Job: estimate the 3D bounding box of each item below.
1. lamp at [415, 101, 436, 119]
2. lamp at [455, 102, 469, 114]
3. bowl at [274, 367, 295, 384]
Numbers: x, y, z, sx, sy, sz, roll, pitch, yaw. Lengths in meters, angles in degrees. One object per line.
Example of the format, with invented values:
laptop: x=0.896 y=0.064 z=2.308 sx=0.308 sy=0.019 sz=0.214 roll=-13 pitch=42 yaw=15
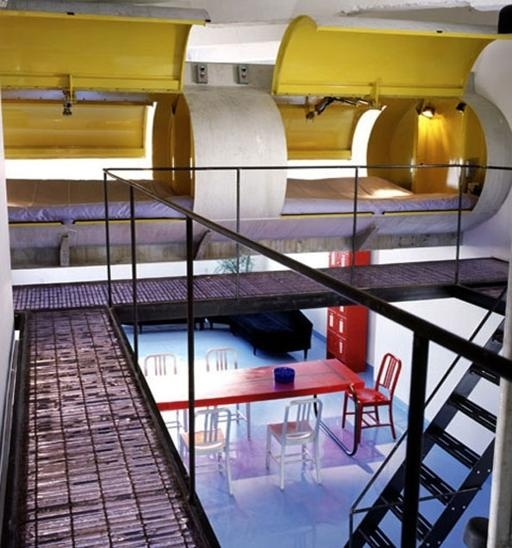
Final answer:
lamp: x=2.073 y=-2.014 z=6.079 sx=0.171 sy=0.220 sz=0.166 roll=2 pitch=50 yaw=28
lamp: x=2.240 y=-1.832 z=5.457 sx=0.099 sy=0.160 sz=0.095 roll=6 pitch=24 yaw=18
bowl: x=0.318 y=1.140 z=5.503 sx=0.200 sy=0.112 sz=0.192 roll=-1 pitch=6 yaw=0
